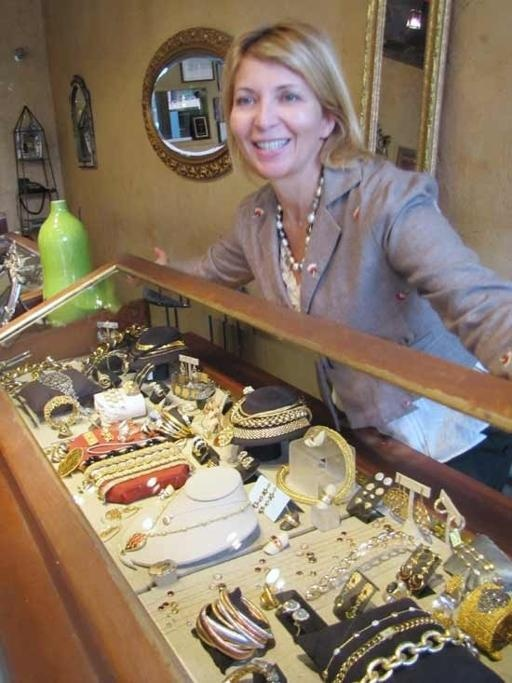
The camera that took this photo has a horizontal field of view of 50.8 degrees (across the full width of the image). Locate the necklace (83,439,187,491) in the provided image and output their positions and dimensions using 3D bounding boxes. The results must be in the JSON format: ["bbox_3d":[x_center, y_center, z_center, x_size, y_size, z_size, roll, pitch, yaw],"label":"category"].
[{"bbox_3d":[-0.193,0.190,0.883,0.107,0.029,0.067,-14,14,-26],"label":"necklace"}]

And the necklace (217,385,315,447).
[{"bbox_3d":[0.018,0.127,0.886,0.114,0.039,0.098,-9,29,13],"label":"necklace"}]

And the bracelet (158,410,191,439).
[{"bbox_3d":[-0.147,0.149,1.011,0.041,0.021,0.051,-12,38,-33],"label":"bracelet"}]

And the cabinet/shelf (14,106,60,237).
[{"bbox_3d":[-2.242,-1.713,5.454,0.465,1.246,0.394,-17,22,-30],"label":"cabinet/shelf"}]

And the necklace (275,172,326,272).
[{"bbox_3d":[0.122,-0.309,1.476,0.033,0.216,0.147,2,0,-40],"label":"necklace"}]

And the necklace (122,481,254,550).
[{"bbox_3d":[-0.094,0.231,0.752,0.106,0.029,0.072,-10,7,-39],"label":"necklace"}]

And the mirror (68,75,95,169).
[{"bbox_3d":[-1.507,-1.894,4.686,0.134,0.773,0.680,-13,20,-21],"label":"mirror"}]
